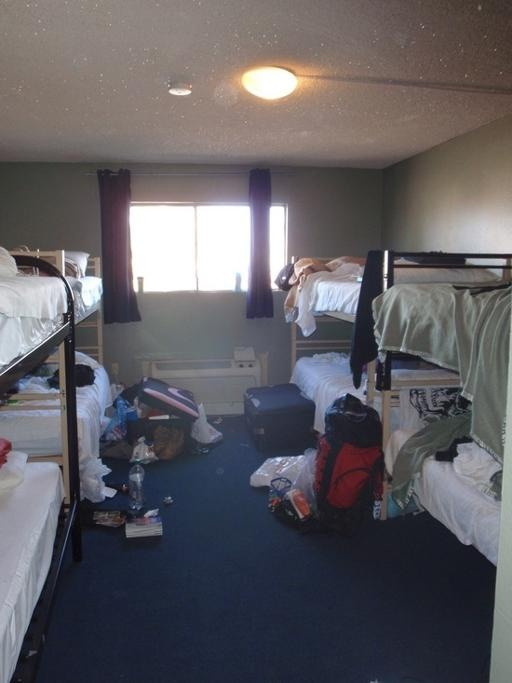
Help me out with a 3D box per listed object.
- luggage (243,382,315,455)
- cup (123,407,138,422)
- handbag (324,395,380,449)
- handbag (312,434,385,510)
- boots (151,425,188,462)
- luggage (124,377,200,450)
[{"bbox_3d":[0.233,0.529,4.343,0.591,0.438,0.887,-1,23,6],"label":"luggage"},{"bbox_3d":[-0.986,0.583,3.974,0.086,0.107,0.072,1,-23,-18],"label":"cup"},{"bbox_3d":[0.550,0.454,2.919,0.328,0.226,0.522,4,9,4],"label":"handbag"},{"bbox_3d":[0.495,0.647,2.786,0.367,0.492,0.341,1,32,0],"label":"handbag"},{"bbox_3d":[-0.662,0.763,3.816,0.160,0.279,0.092,4,-19,-11],"label":"boots"},{"bbox_3d":[-0.741,0.502,4.201,0.661,0.297,0.523,11,12,-31],"label":"luggage"}]
